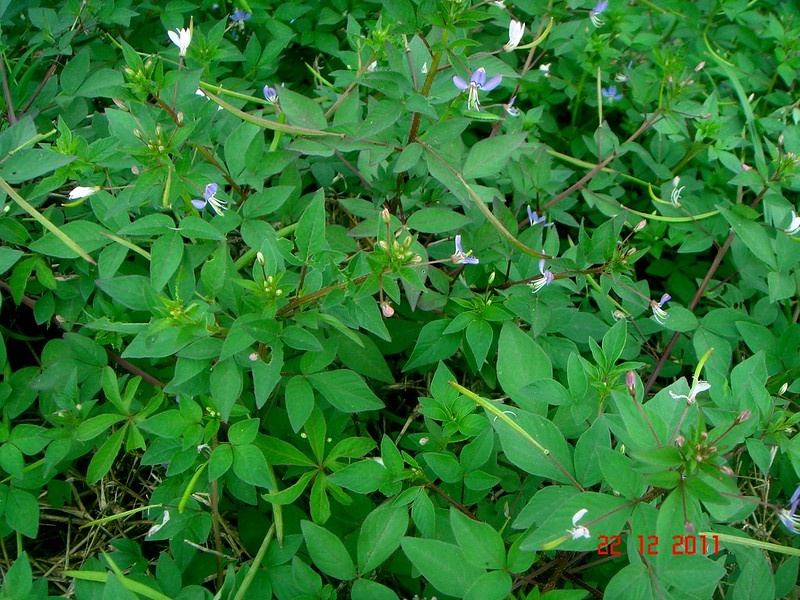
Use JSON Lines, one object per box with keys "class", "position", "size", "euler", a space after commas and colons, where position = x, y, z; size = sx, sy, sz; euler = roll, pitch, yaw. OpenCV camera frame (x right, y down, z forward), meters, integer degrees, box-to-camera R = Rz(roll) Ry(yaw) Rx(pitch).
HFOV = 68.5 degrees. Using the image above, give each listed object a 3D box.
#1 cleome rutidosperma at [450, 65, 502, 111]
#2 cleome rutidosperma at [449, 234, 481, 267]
{"class": "cleome rutidosperma", "position": [0.306, -0.851, 2.312], "size": [0.159, 0.186, 0.083], "euler": [14, 40, 9]}
{"class": "cleome rutidosperma", "position": [0.259, -0.177, 2.369], "size": [0.060, 0.130, 0.131], "euler": [-29, 60, 9]}
